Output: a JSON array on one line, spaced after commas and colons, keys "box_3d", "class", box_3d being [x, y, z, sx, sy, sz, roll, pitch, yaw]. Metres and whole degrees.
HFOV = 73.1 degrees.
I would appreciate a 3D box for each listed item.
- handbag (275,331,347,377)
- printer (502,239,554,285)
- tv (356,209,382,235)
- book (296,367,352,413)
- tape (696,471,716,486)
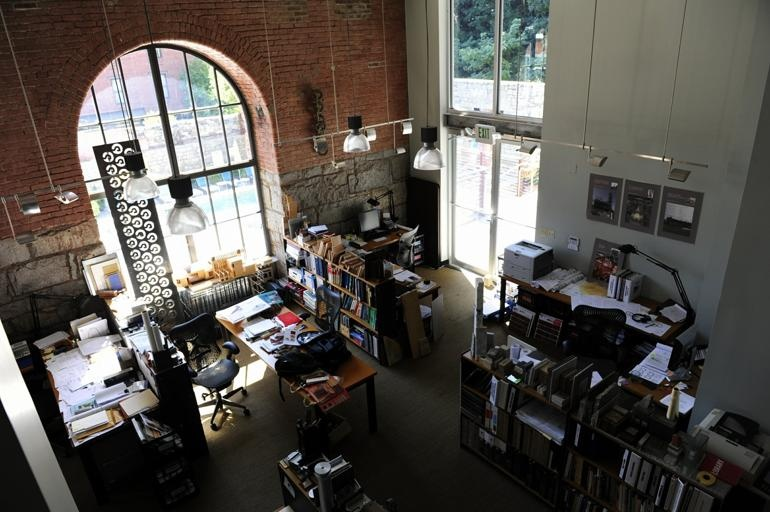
[{"box_3d": [-1.013, 1.404, 7.273, 0.768, 0.320, 0.533, -13, 29, -20], "class": "handbag"}, {"box_3d": [2.478, 0.037, 8.955, 0.716, 0.525, 0.707, -23, 28, -39], "class": "printer"}, {"box_3d": [-0.289, -0.669, 10.345, 0.465, 0.338, 0.078, -24, 30, -33], "class": "tv"}, {"box_3d": [-0.819, 1.788, 6.928, 0.528, 0.171, 0.528, 30, 44, 34], "class": "book"}, {"box_3d": [3.264, 2.279, 5.279, 0.145, 0.075, 0.142, -21, 24, -36], "class": "tape"}]
